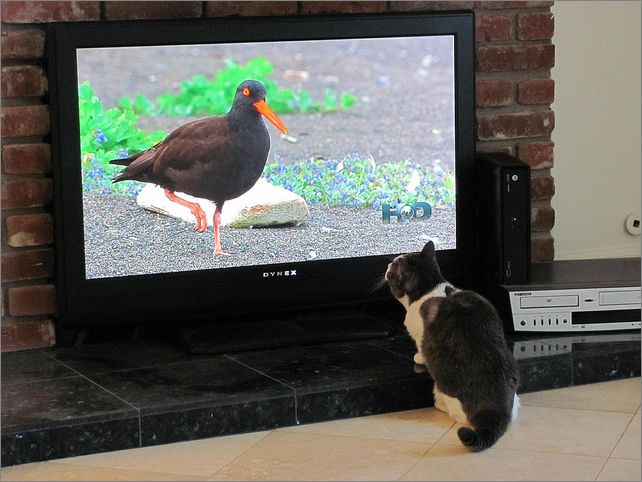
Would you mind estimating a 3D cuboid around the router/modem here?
[{"bbox_3d":[0.657,-0.081,2.408,0.151,0.431,0.443,-2,8,-3],"label":"router/modem"}]

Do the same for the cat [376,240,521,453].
[{"bbox_3d":[0.408,0.277,1.993,0.239,0.529,0.450,-2,4,-18],"label":"cat"}]
